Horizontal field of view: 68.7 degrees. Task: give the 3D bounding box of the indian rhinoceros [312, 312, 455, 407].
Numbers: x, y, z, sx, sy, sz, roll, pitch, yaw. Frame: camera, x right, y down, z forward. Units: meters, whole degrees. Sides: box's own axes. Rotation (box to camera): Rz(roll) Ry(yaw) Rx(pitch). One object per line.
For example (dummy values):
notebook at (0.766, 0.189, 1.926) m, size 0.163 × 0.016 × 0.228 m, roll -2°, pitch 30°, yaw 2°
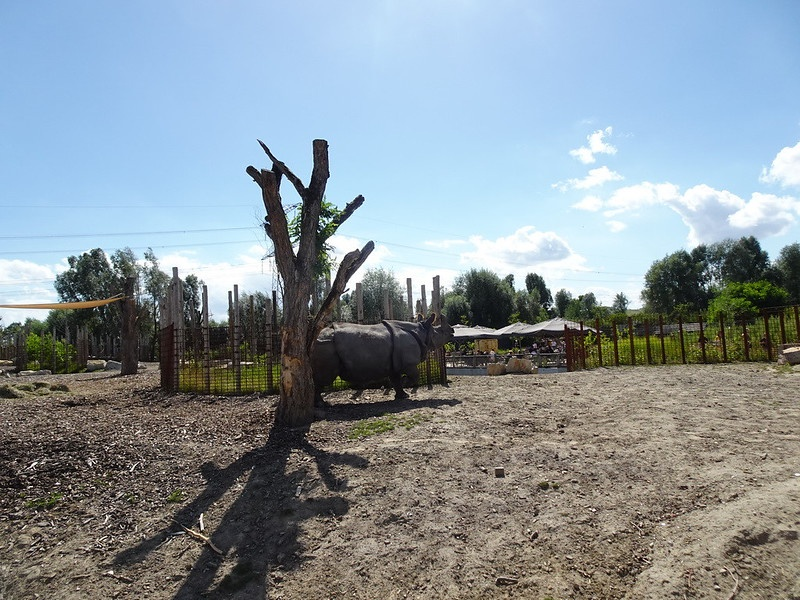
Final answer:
indian rhinoceros at (-0.299, 1.342, 13.512) m, size 3.615 × 2.289 × 1.306 m, roll 0°, pitch -3°, yaw -25°
